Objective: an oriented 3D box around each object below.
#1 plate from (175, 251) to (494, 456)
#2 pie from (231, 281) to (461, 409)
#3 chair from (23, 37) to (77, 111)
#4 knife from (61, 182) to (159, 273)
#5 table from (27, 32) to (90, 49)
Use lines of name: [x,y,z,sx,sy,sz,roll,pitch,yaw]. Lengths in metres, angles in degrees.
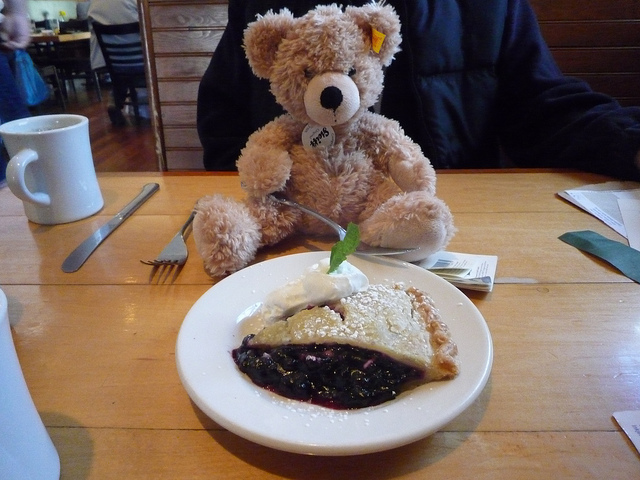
plate: [0.016,0.155,0.850,0.493,0.119,0.416,-3,25,-11]
pie: [0.054,0.172,0.817,0.257,0.067,0.190,-4,28,-5]
chair: [-2.367,-1.491,4.532,0.314,0.621,1.386,-9,27,-23]
knife: [-0.468,-0.030,1.160,0.053,0.014,0.307,7,27,13]
table: [-2.248,-1.711,4.456,0.472,0.150,1.033,-9,26,-23]
